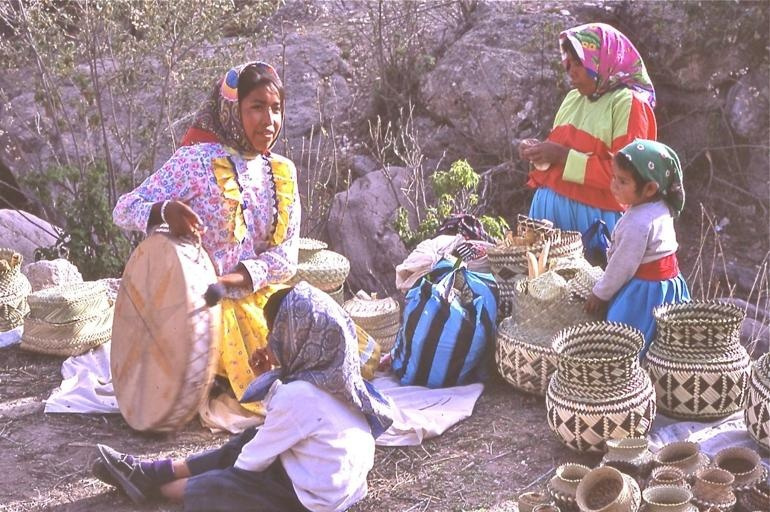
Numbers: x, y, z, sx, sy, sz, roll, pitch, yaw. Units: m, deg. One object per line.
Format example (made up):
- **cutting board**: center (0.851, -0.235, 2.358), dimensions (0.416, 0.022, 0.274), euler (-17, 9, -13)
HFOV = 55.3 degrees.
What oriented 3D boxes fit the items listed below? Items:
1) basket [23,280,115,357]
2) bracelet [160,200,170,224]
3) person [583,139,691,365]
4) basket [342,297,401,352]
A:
- **basket**: center (-2.851, 0.548, 6.743), dimensions (0.782, 0.532, 0.766), euler (7, 16, 9)
- **bracelet**: center (-1.621, -0.330, 5.345), dimensions (0.039, 0.144, 0.136), euler (3, 36, -15)
- **person**: center (1.882, -0.040, 5.409), dimensions (0.722, 1.600, 0.274), euler (2, 15, 6)
- **basket**: center (-0.154, 0.558, 6.611), dimensions (0.464, 0.423, 0.470), euler (7, 13, 30)
